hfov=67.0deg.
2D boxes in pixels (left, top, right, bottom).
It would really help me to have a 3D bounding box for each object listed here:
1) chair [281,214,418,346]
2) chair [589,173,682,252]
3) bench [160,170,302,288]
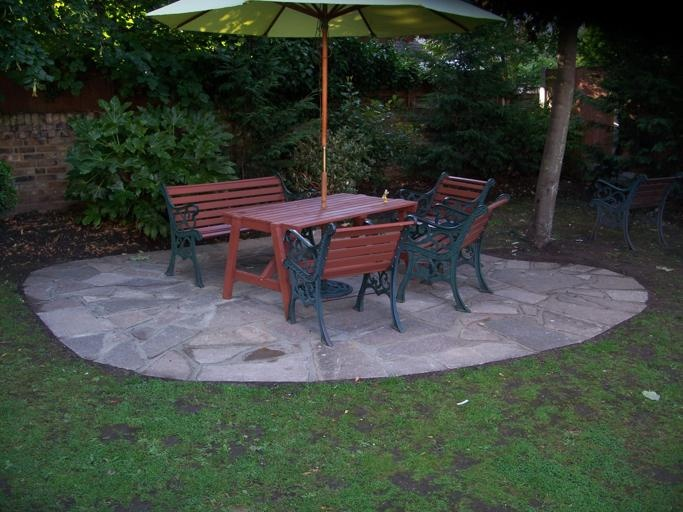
[{"bbox_3d":[-0.020,0.145,4.912,1.039,0.942,0.966,-5,9,-41],"label":"chair"},{"bbox_3d":[4.935,-0.679,8.583,1.842,1.136,1.077,-9,18,-36],"label":"chair"},{"bbox_3d":[-1.250,-0.457,6.992,0.811,0.907,2.167,22,24,30],"label":"bench"}]
